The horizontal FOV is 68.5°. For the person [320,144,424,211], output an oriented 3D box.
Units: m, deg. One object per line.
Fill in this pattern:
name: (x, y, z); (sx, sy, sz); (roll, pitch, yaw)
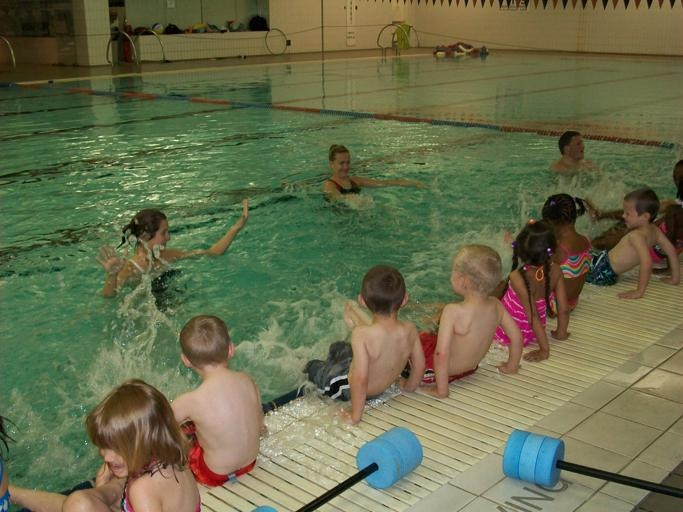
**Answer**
person: (0.144, -0.754, 4.745); (0.657, 0.502, 0.822); (-15, 14, -41)
